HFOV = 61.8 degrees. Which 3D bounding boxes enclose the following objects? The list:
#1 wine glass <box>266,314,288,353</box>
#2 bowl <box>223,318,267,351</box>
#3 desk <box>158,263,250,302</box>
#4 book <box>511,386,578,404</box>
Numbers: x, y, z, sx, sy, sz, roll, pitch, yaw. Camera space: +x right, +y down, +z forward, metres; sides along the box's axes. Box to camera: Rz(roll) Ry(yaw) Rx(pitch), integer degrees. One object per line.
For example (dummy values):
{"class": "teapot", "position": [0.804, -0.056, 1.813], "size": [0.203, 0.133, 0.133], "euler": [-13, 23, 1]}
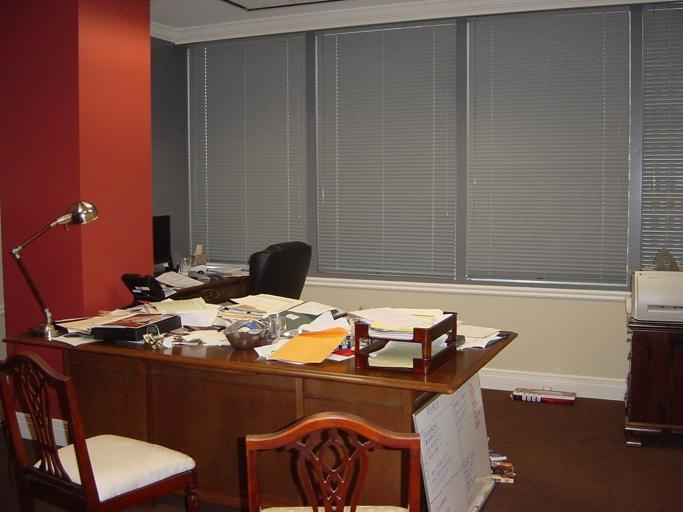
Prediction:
{"class": "wine glass", "position": [-0.333, 0.375, 3.014], "size": [0.088, 0.132, 0.143], "euler": [2, 8, 11]}
{"class": "bowl", "position": [-0.475, 0.387, 2.825], "size": [0.152, 0.082, 0.166], "euler": [1, -2, 0]}
{"class": "desk", "position": [-1.158, 0.258, 4.789], "size": [0.389, 0.267, 0.980], "euler": [6, 11, 30]}
{"class": "book", "position": [1.612, 1.121, 4.563], "size": [0.313, 0.060, 0.184], "euler": [1, 4, 20]}
